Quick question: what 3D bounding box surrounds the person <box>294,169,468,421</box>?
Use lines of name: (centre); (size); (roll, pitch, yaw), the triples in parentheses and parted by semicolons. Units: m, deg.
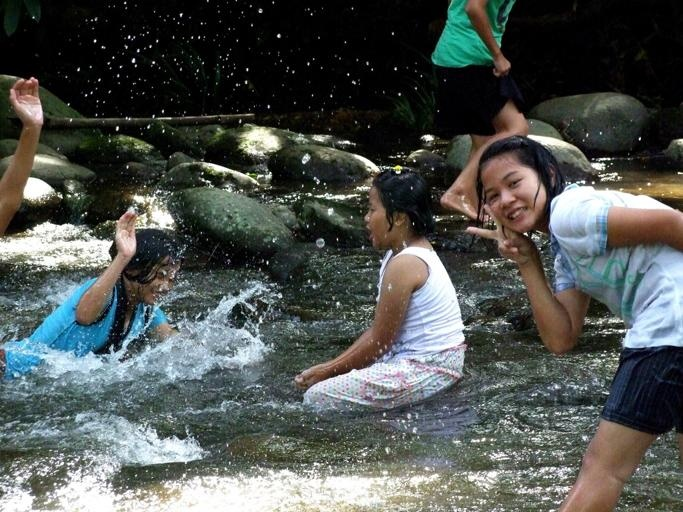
person: (0.297, 0.198, 4.817); (1.002, 1.390, 0.488); (-2, 14, -3)
